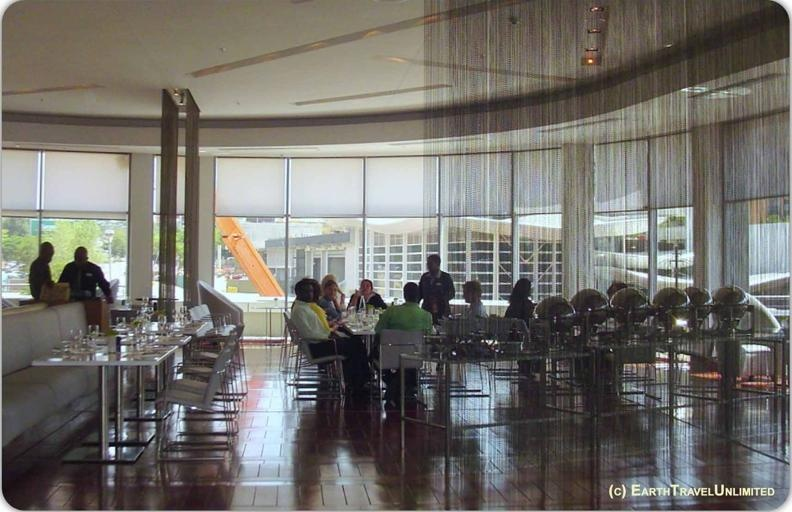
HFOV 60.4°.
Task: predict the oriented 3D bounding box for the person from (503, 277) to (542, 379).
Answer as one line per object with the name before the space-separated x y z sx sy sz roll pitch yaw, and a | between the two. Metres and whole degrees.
person | 1.361 0.756 7.246 0.382 1.078 0.161 6 15 18

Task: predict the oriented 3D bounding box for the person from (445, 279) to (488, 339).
person | 0.784 0.557 7.347 0.562 0.796 0.521 2 1 12
